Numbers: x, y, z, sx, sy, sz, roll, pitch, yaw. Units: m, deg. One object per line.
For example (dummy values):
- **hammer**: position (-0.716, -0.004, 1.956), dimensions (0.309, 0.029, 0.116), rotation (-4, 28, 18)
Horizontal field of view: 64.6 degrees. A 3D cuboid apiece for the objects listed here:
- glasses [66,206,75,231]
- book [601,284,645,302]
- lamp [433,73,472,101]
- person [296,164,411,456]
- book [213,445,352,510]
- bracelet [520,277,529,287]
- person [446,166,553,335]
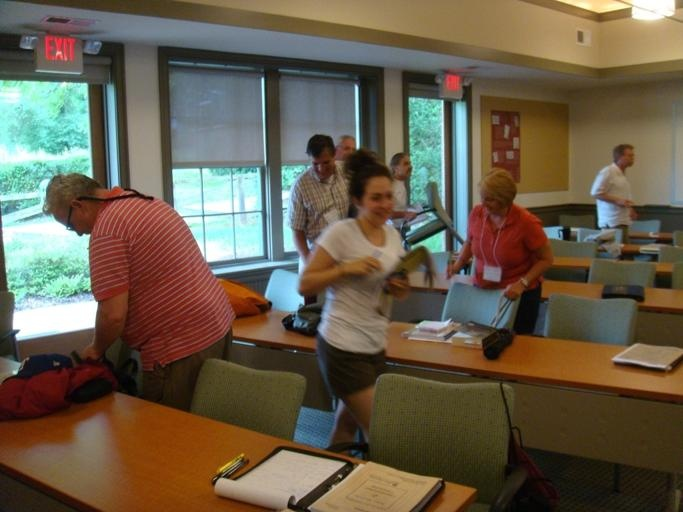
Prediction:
- **glasses**: position (-1.278, -0.177, 2.551), dimensions (0.026, 0.095, 0.091), rotation (-1, 3, -5)
- **book**: position (2.086, 0.263, 4.009), dimensions (0.195, 0.048, 0.197), rotation (4, 9, 36)
- **lamp**: position (1.581, -2.462, 7.787), dimensions (0.385, 0.372, 0.114), rotation (-12, 15, -28)
- **person**: position (0.107, 0.268, 2.601), dimensions (0.557, 1.519, 0.422), rotation (-10, 14, -40)
- **book**: position (-0.185, 0.778, 1.894), dimensions (0.204, 0.044, 0.214), rotation (3, 14, 29)
- **bracelet**: position (1.191, 0.166, 3.516), dimensions (0.029, 0.045, 0.045), rotation (-28, 45, -1)
- **person**: position (1.195, 0.199, 3.966), dimensions (0.652, 1.660, 0.670), rotation (-22, 24, -39)
